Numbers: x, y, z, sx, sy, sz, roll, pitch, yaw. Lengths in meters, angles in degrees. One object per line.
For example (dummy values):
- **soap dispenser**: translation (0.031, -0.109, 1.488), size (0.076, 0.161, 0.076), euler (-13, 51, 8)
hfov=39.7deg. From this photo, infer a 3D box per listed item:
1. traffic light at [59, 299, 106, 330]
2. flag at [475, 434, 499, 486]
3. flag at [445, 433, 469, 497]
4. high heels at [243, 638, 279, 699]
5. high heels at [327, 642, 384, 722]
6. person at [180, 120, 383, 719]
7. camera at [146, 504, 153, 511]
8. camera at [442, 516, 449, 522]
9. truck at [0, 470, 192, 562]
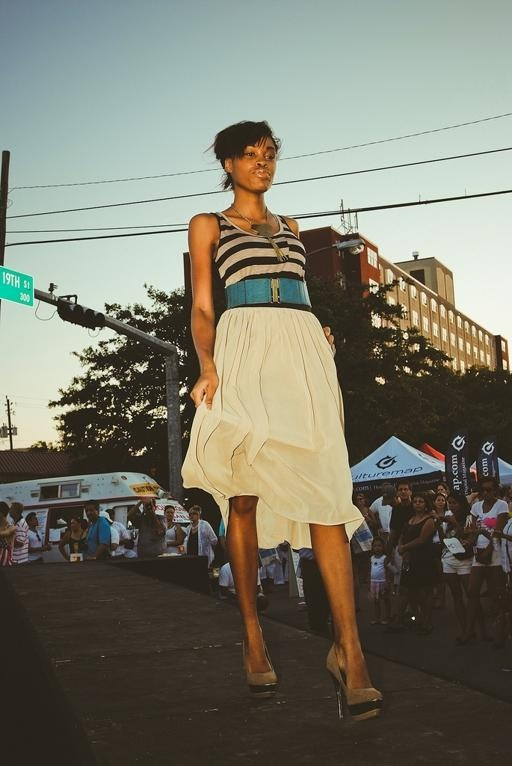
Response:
- **traffic light**: translation (-3.200, -1.255, 13.153), size (0.428, 0.510, 1.045), euler (-6, -7, 33)
- **flag**: translation (5.384, 1.752, 16.602), size (0.453, 0.920, 1.362), euler (-4, -6, 17)
- **flag**: translation (4.279, 1.757, 15.216), size (0.479, 1.815, 0.077), euler (-8, 33, 2)
- **high heels**: translation (0.013, 0.846, 2.067), size (0.082, 0.125, 0.119), euler (-2, -6, -4)
- **high heels**: translation (0.259, 0.806, 1.887), size (0.119, 0.166, 0.221), euler (-2, -6, 0)
- **person**: translation (0.074, -0.015, 2.257), size (0.711, 1.877, 0.477), euler (-7, -8, 35)
- **camera**: translation (-2.235, 2.664, 15.027), size (0.115, 0.101, 0.103), euler (-2, -23, 1)
- **camera**: translation (2.239, 1.622, 8.404), size (0.050, 0.017, 0.067), euler (-14, 10, 13)
- **truck**: translation (-4.813, 3.246, 18.167), size (4.474, 2.124, 2.451), euler (-8, -12, 12)
